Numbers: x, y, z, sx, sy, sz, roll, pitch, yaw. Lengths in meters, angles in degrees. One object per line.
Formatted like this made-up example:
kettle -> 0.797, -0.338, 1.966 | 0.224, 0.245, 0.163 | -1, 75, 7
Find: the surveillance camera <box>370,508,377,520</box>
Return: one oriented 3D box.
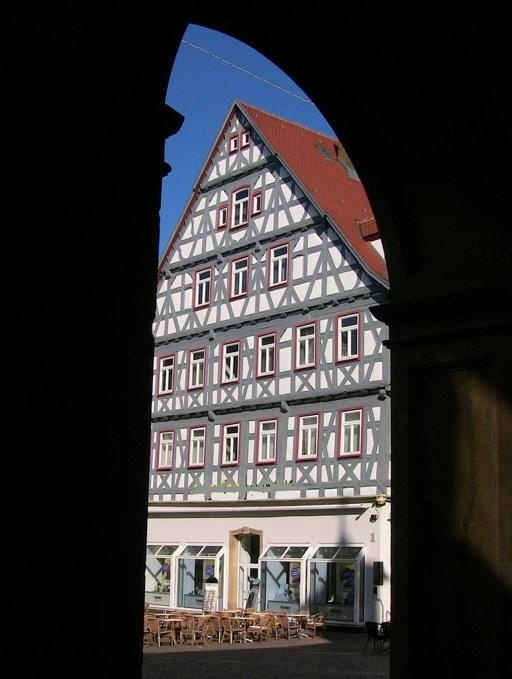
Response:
surveillance camera -> 2.162, 3.226, 19.605 | 0.067, 0.245, 0.248 | 7, -15, -27
